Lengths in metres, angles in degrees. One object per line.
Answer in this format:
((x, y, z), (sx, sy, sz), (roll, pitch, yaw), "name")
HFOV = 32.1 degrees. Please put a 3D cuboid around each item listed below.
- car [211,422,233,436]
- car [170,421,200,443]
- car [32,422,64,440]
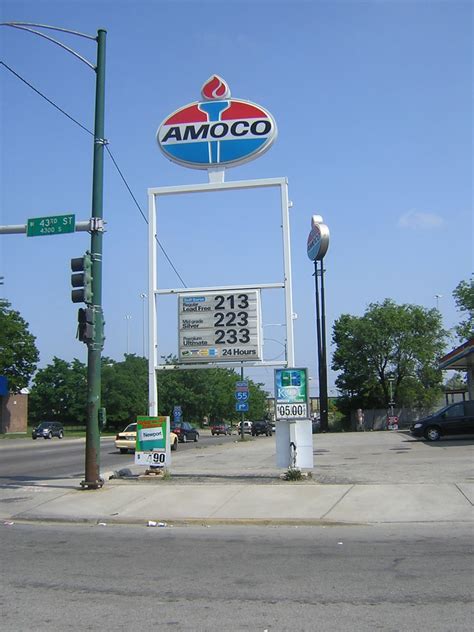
((-1.402, 9.889, 71.282), (1.086, 0.743, 2.331), (0, -3, 8), "car")
((-2.772, 6.084, 43.134), (0.891, 0.673, 2.088), (-1, -4, 12), "car")
((-12.949, 7.777, 55.877), (1.166, 0.908, 2.149), (-5, -19, 7), "car")
